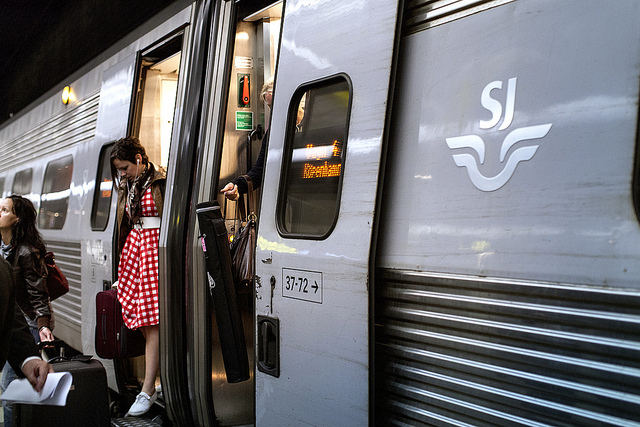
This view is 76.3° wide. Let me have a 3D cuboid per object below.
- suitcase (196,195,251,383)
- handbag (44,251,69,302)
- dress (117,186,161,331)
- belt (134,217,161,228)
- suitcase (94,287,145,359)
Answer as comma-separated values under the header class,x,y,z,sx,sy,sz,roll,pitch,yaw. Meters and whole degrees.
class,x,y,z,sx,sy,sz,roll,pitch,yaw
suitcase,-0.662,0.524,2.786,0.403,1.205,0.191,3,-7,-19
handbag,-2.531,0.568,3.881,0.168,0.358,0.368,10,-10,-30
dress,-1.572,0.378,3.562,0.373,1.212,0.218,2,-7,-9
belt,-1.527,0.094,3.611,0.122,0.061,0.165,2,-5,-41
suitcase,-1.881,1.016,3.865,0.389,0.622,0.422,4,-11,-40
